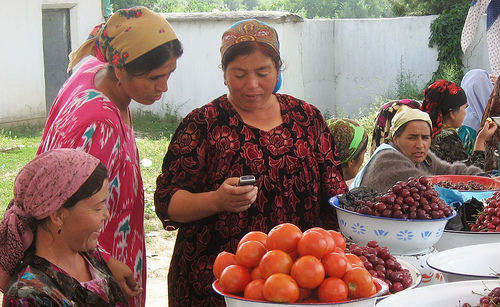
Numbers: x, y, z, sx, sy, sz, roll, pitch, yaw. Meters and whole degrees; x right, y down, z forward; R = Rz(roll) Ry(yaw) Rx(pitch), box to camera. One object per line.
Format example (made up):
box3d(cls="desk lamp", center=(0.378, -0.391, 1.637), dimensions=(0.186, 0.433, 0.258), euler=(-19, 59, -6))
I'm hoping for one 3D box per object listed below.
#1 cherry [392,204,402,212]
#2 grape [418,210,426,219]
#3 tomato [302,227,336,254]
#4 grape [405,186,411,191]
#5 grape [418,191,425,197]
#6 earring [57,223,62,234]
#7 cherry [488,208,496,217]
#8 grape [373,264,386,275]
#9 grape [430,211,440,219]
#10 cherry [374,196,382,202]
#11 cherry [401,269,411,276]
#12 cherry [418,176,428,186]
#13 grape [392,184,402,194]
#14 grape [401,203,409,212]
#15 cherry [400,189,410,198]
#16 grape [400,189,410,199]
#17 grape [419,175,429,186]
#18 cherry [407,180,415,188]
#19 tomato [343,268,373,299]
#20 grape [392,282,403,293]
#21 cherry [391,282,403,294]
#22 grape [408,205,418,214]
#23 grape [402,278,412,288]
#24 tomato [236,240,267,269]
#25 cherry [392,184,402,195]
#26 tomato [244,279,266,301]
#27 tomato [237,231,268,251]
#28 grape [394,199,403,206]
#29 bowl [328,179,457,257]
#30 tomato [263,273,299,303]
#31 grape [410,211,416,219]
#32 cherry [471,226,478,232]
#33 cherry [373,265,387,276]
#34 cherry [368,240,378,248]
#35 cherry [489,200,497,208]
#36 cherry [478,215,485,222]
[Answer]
box3d(cls="cherry", center=(0.986, 0.357, 3.326), dimensions=(0.044, 0.042, 0.042), euler=(-7, 21, -10))
box3d(cls="grape", center=(1.148, 0.402, 3.307), dimensions=(0.048, 0.048, 0.019), euler=(-34, 16, -11))
box3d(cls="tomato", center=(0.412, 0.500, 2.933), dimensions=(0.161, 0.149, 0.147), euler=(-1, 1, -3))
box3d(cls="grape", center=(1.081, 0.236, 3.400), dimensions=(0.030, 0.016, 0.029), euler=(0, 5, -3))
box3d(cls="grape", center=(1.168, 0.271, 3.382), dimensions=(0.031, 0.036, 0.031), euler=(3, -34, -3))
box3d(cls="earring", center=(-1.219, 0.482, 3.144), dimensions=(0.031, 0.055, 0.008), euler=(-1, 10, 5))
box3d(cls="cherry", center=(1.736, 0.412, 3.574), dimensions=(0.048, 0.056, 0.047), euler=(1, -11, -1))
box3d(cls="grape", center=(0.802, 0.705, 3.070), dimensions=(0.063, 0.056, 0.057), euler=(-30, 15, -2))
box3d(cls="grape", center=(1.237, 0.407, 3.314), dimensions=(0.049, 0.044, 0.045), euler=(0, 1, 5))
box3d(cls="cherry", center=(0.889, 0.315, 3.462), dimensions=(0.035, 0.011, 0.035), euler=(-20, 8, -5))
box3d(cls="cherry", center=(0.973, 0.736, 3.094), dimensions=(0.039, 0.018, 0.038), euler=(20, -2, -9))
box3d(cls="cherry", center=(1.200, 0.183, 3.431), dimensions=(0.054, 0.048, 0.059), euler=(0, -6, 4))
box3d(cls="grape", center=(1.009, 0.242, 3.408), dimensions=(0.050, 0.052, 0.051), euler=(44, 1, 36))
box3d(cls="grape", center=(1.039, 0.357, 3.325), dimensions=(0.047, 0.046, 0.056), euler=(-17, 6, 16))
box3d(cls="cherry", center=(1.051, 0.267, 3.371), dimensions=(0.048, 0.043, 0.044), euler=(-8, 21, -21))
box3d(cls="grape", center=(1.056, 0.266, 3.370), dimensions=(0.058, 0.053, 0.054), euler=(-24, -33, -11))
box3d(cls="grape", center=(1.208, 0.181, 3.440), dimensions=(0.058, 0.056, 0.054), euler=(1, 27, 0))
box3d(cls="cherry", center=(1.112, 0.206, 3.425), dimensions=(0.044, 0.032, 0.043), euler=(-4, 7, -19))
box3d(cls="tomato", center=(0.599, 0.713, 2.810), dimensions=(0.158, 0.155, 0.155), euler=(18, -8, -34))
box3d(cls="grape", center=(0.901, 0.814, 3.041), dimensions=(0.054, 0.057, 0.054), euler=(1, -6, -38))
box3d(cls="cherry", center=(0.900, 0.816, 3.040), dimensions=(0.061, 0.062, 0.059), euler=(-1, -8, -45))
box3d(cls="grape", center=(1.093, 0.369, 3.323), dimensions=(0.048, 0.047, 0.043), euler=(2, 50, 4))
box3d(cls="grape", center=(0.965, 0.790, 3.057), dimensions=(0.052, 0.045, 0.052), euler=(-44, 7, -19))
box3d(cls="tomato", center=(-0.016, 0.590, 2.955), dimensions=(0.178, 0.200, 0.171), euler=(5, 6, 13))
box3d(cls="cherry", center=(1.010, 0.248, 3.412), dimensions=(0.055, 0.054, 0.053), euler=(-36, 1, -12))
box3d(cls="tomato", center=(0.025, 0.761, 2.838), dimensions=(0.108, 0.125, 0.106), euler=(9, -3, 10))
box3d(cls="tomato", center=(0.013, 0.496, 2.967), dimensions=(0.115, 0.130, 0.112), euler=(-36, -23, 3))
box3d(cls="grape", center=(0.999, 0.324, 3.345), dimensions=(0.039, 0.049, 0.043), euler=(-15, 35, 3))
box3d(cls="bowl", center=(1.181, 0.404, 3.534), dimensions=(0.621, 0.394, 0.708), euler=(7, 17, 45))
box3d(cls="tomato", center=(0.167, 0.728, 2.717), dimensions=(0.168, 0.156, 0.153), euler=(0, -36, 0))
box3d(cls="grape", center=(1.089, 0.409, 3.308), dimensions=(0.036, 0.030, 0.036), euler=(-1, -6, 5))
box3d(cls="cherry", center=(1.624, 0.542, 3.592), dimensions=(0.036, 0.041, 0.035), euler=(0, 2, 1))
box3d(cls="cherry", center=(0.802, 0.708, 3.077), dimensions=(0.064, 0.060, 0.062), euler=(-27, 4, 12))
box3d(cls="cherry", center=(0.800, 0.581, 3.224), dimensions=(0.062, 0.042, 0.117), euler=(2, 9, 21))
box3d(cls="cherry", center=(1.773, 0.364, 3.618), dimensions=(0.048, 0.057, 0.047), euler=(0, -1, 6))
box3d(cls="cherry", center=(1.690, 0.468, 3.616), dimensions=(0.045, 0.044, 0.050), euler=(-10, 12, -42))
